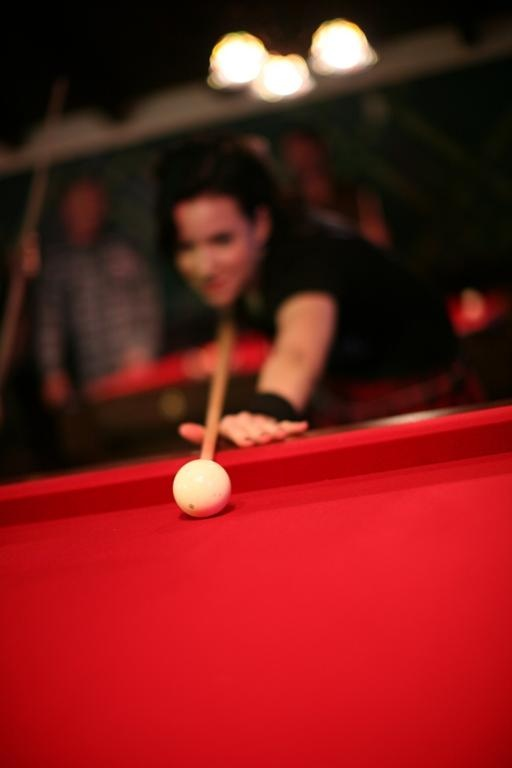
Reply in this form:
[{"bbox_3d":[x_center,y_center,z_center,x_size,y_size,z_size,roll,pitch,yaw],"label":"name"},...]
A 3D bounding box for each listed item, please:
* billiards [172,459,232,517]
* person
[{"bbox_3d":[-0.075,0.143,1.006,0.080,0.074,0.077,2,4,13],"label":"billiards"},{"bbox_3d":[0.143,-0.348,2.502,1.111,1.053,0.582,0,15,3],"label":"person"}]
